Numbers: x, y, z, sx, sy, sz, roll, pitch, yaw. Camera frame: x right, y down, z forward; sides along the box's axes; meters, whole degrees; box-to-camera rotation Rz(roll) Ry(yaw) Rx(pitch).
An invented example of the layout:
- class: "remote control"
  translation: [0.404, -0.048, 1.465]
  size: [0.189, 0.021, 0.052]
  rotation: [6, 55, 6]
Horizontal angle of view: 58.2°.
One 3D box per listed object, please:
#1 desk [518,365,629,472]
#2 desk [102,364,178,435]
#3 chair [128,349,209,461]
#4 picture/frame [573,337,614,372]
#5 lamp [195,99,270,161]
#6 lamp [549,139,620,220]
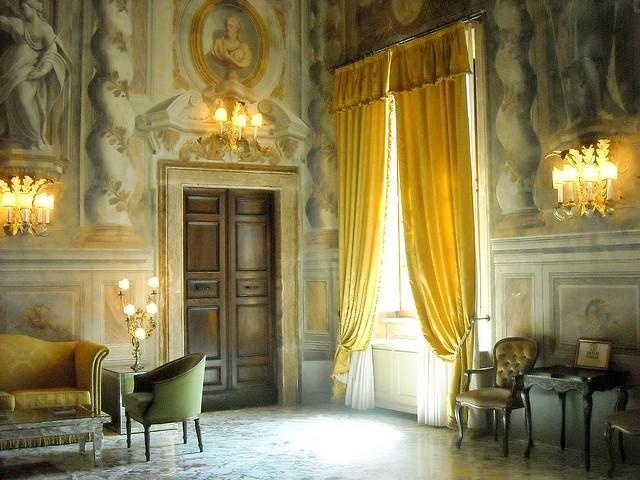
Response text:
- class: "desk"
  translation: [2.655, 1.853, 5.915]
  size: [1.057, 1.118, 0.805]
  rotation: [1, -1, -43]
- class: "desk"
  translation: [-2.152, 1.831, 6.821]
  size: [0.658, 0.758, 1.003]
  rotation: [1, -2, -29]
- class: "chair"
  translation: [-1.522, 1.674, 6.157]
  size: [0.924, 1.258, 0.885]
  rotation: [5, -6, -32]
- class: "picture/frame"
  translation: [2.780, 1.161, 5.807]
  size: [0.028, 0.273, 0.287]
  rotation: [16, -16, -33]
- class: "lamp"
  translation: [-1.260, -1.529, 7.995]
  size: [0.859, 0.809, 0.260]
  rotation: [1, -2, -31]
- class: "lamp"
  translation: [2.725, -0.616, 5.858]
  size: [0.690, 0.998, 0.528]
  rotation: [-6, -11, 41]
